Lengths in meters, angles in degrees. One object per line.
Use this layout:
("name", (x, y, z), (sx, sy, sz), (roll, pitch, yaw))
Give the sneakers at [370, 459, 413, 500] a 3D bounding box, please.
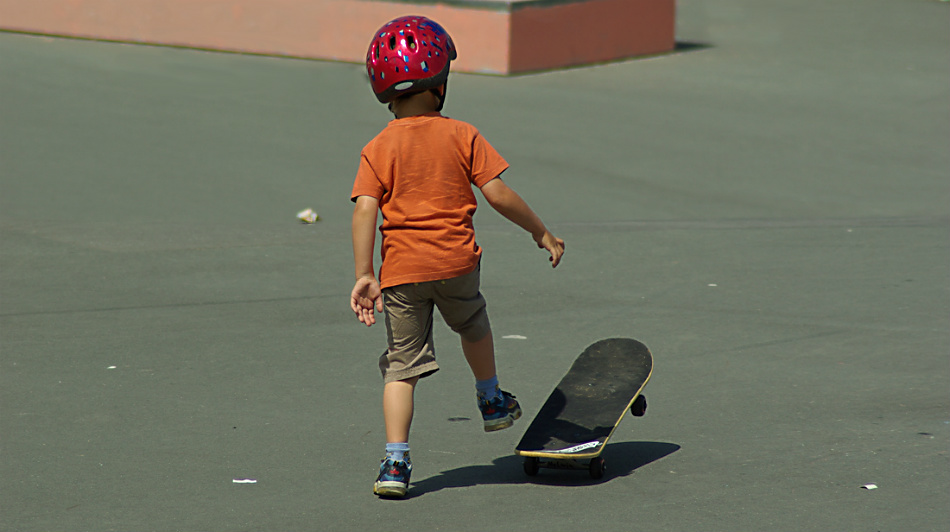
("sneakers", (-0.646, 1.610, 12.009), (0.300, 0.287, 0.252), (-3, 28, -2))
